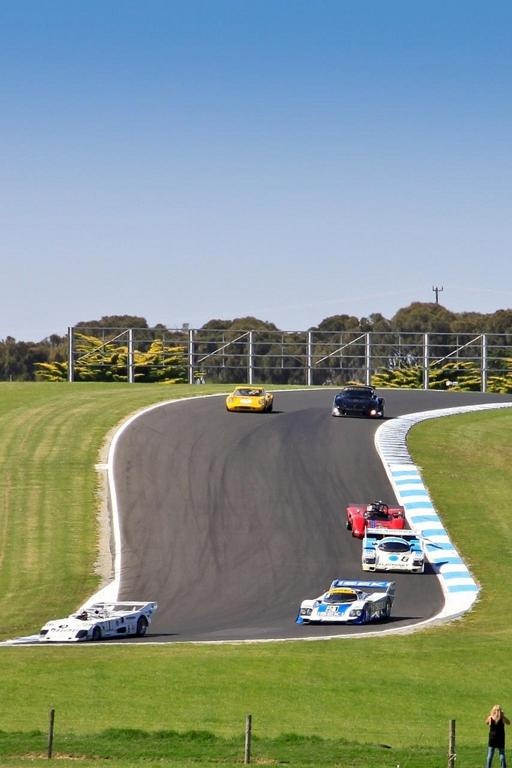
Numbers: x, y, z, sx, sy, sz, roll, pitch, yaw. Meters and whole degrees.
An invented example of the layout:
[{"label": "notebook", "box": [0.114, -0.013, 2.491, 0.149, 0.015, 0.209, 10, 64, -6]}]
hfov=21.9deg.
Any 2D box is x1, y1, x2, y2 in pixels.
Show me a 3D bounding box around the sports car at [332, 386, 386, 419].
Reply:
[{"label": "sports car", "box": [3.800, 0.700, 48.186, 1.750, 1.093, 1.478, 2, 4, 20]}]
